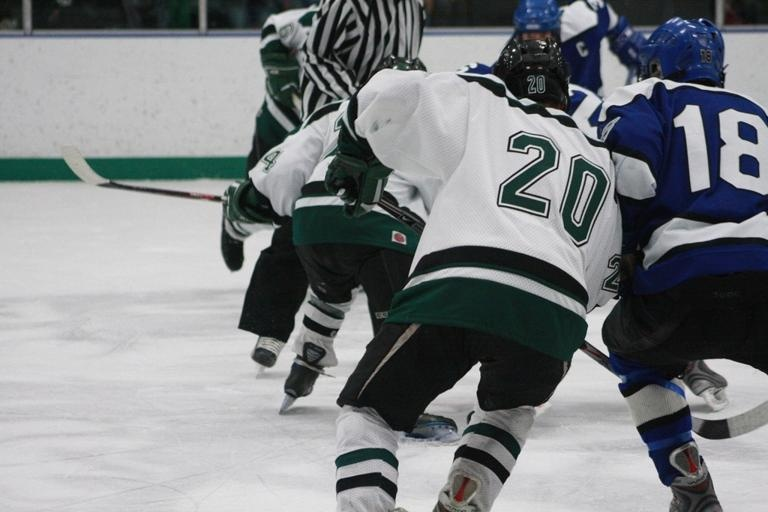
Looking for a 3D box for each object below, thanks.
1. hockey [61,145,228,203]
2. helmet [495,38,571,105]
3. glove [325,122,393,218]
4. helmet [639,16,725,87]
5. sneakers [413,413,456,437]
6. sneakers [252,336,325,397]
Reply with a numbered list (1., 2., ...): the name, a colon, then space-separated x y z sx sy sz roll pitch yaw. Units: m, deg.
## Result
1. hockey: -1.285 -0.393 5.597 0.973 0.124 0.079 8 -9 14
2. helmet: 0.529 -0.610 3.735 0.225 0.246 0.255 2 -23 7
3. glove: -0.099 -0.307 3.636 0.178 0.382 0.423 -9 36 2
4. helmet: 1.068 -0.725 3.846 0.267 0.286 0.302 2 10 -14
5. sneakers: 0.200 0.682 4.272 0.193 0.067 0.102 3 -16 -13
6. sneakers: -0.428 0.562 4.744 0.167 0.199 0.474 25 -29 16
